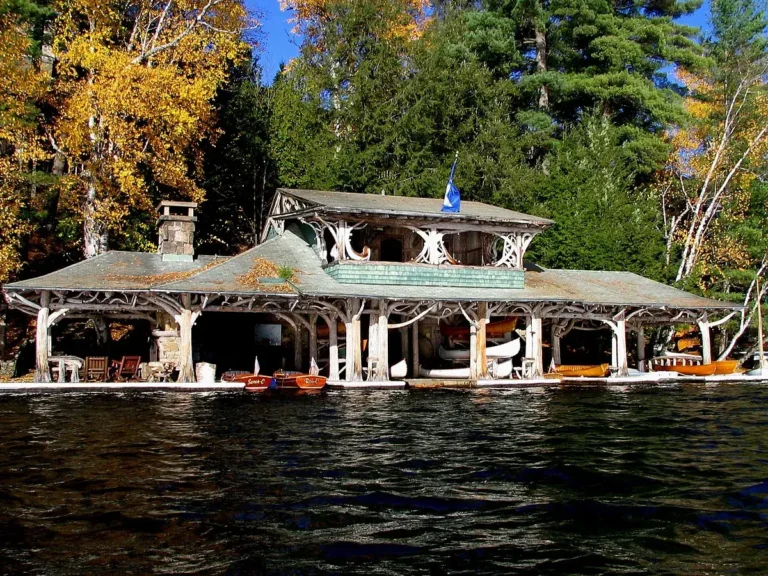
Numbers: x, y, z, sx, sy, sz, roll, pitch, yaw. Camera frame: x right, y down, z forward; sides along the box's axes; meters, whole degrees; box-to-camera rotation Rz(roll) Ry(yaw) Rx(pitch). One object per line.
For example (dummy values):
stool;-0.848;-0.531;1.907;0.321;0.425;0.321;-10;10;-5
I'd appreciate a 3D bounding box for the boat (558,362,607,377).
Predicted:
boat;8.724;3.552;45.387;1.640;0.374;1.026;0;-15;12

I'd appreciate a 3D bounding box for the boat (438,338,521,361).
boat;3.700;2.768;45.207;5.246;0.975;1.126;-9;-14;44

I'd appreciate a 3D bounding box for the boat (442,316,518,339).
boat;3.946;1.833;46.169;4.214;0.951;1.147;-4;-13;23
